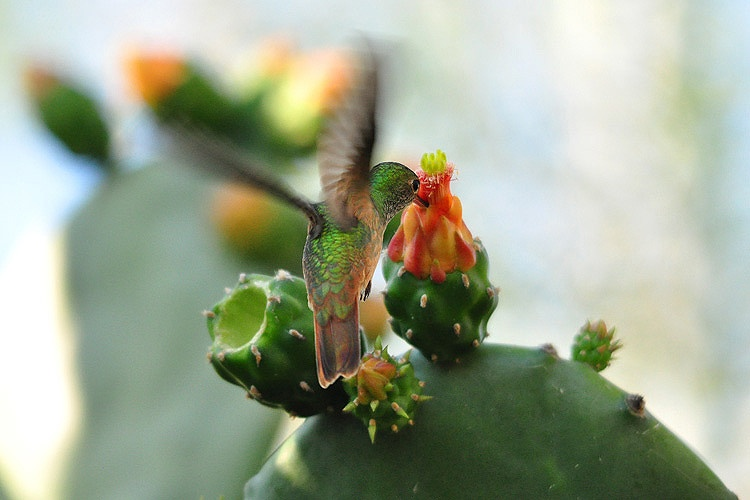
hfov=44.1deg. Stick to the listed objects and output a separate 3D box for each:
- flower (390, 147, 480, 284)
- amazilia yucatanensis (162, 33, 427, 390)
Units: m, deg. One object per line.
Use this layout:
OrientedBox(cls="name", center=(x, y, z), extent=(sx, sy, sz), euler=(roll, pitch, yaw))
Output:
OrientedBox(cls="flower", center=(0.082, -0.032, 1.230), extent=(0.114, 0.206, 0.125), euler=(-1, -16, -4))
OrientedBox(cls="amazilia yucatanensis", center=(-0.085, -0.016, 1.185), extent=(0.254, 0.386, 0.407), euler=(-6, 5, 7))
